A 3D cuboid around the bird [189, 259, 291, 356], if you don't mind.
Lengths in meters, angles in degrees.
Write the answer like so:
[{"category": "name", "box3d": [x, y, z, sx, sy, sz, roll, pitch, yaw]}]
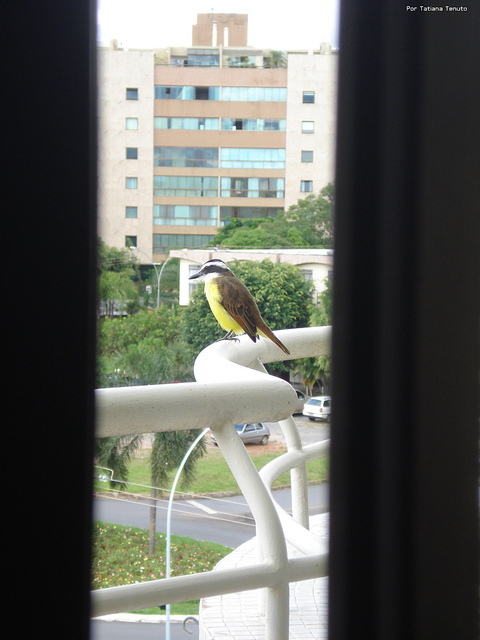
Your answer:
[{"category": "bird", "box3d": [0.008, -0.049, 5.222, 0.375, 0.301, 0.144, 6, -1, 9]}]
